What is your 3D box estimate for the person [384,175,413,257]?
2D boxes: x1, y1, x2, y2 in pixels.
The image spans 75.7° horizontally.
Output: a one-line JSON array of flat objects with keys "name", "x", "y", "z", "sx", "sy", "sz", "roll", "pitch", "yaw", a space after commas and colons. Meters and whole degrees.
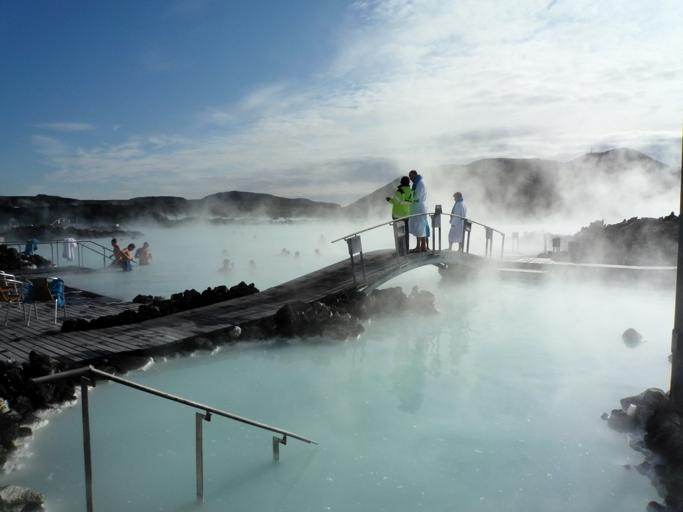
[{"name": "person", "x": 1.859, "y": -1.217, "z": 13.653, "sx": 0.682, "sy": 2.415, "sz": 1.505, "roll": -1, "pitch": 3, "yaw": 17}]

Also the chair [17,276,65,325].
[{"name": "chair", "x": -7.470, "y": 1.094, "z": 10.986, "sx": 0.824, "sy": 1.174, "sz": 2.647, "roll": -4, "pitch": 3, "yaw": -37}]

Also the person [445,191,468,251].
[{"name": "person", "x": 4.381, "y": -1.259, "z": 16.694, "sx": 0.598, "sy": 2.198, "sz": 1.247, "roll": -1, "pitch": 3, "yaw": 13}]
